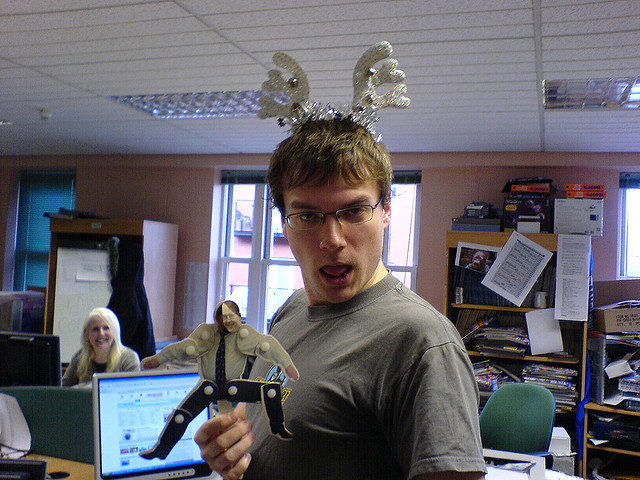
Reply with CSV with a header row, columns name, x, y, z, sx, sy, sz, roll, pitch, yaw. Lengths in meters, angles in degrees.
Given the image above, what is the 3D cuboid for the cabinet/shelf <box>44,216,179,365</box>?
name,x,y,z,sx,sy,sz,roll,pitch,yaw
cabinet/shelf,-2.218,0.612,5.216,0.816,1.452,0.504,3,-21,-25

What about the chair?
name,x,y,z,sx,sy,sz,roll,pitch,yaw
chair,1.157,1.017,3.274,0.402,0.527,0.486,-3,-12,28

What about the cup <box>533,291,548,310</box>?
name,x,y,z,sx,sy,sz,roll,pitch,yaw
cup,1.646,0.448,3.963,0.089,0.128,0.055,-1,-3,22

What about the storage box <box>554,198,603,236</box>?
name,x,y,z,sx,sy,sz,roll,pitch,yaw
storage box,1.974,-0.178,4.060,0.358,0.268,0.216,2,7,16

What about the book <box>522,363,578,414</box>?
name,x,y,z,sx,sy,sz,roll,pitch,yaw
book,1.733,1.042,3.971,0.389,0.179,0.498,-2,24,10

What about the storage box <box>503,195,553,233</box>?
name,x,y,z,sx,sy,sz,roll,pitch,yaw
storage box,1.571,-0.185,4.160,0.396,0.279,0.270,1,0,5
